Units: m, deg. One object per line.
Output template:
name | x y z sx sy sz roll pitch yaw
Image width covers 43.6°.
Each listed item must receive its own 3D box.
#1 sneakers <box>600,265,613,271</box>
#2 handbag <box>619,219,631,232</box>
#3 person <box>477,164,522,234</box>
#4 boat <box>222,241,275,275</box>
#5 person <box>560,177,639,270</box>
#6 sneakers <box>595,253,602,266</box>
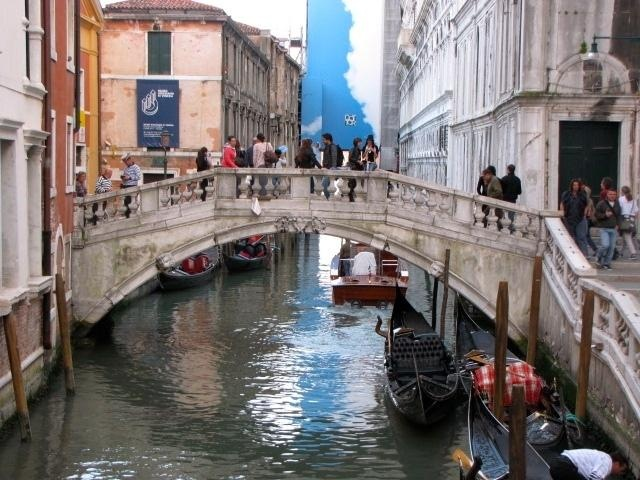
sneakers | 6.571 0.626 18.207 0.272 0.139 0.109 -3 8 15
handbag | 7.174 -0.311 18.635 0.233 0.277 0.257 3 12 12
person | 4.497 -1.050 19.819 0.998 1.603 1.340 2 9 14
boat | -3.286 0.971 37.386 0.854 0.934 3.210 4 0 16
person | 6.339 -0.401 18.525 1.298 1.962 0.833 4 9 26
sneakers | 6.474 0.447 18.491 0.094 0.142 0.310 1 20 10
